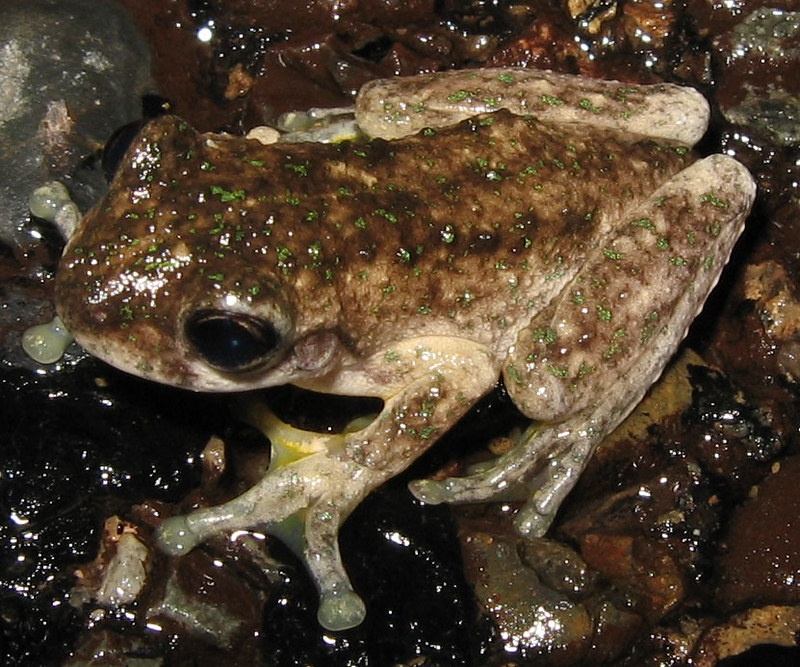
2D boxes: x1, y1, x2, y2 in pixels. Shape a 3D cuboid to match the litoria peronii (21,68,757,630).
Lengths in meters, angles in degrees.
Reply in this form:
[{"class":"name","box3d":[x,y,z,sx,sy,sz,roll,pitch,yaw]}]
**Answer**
[{"class":"litoria peronii","box3d":[0.179,-0.202,4.525,3.078,1.149,2.347,-43,80,-8]}]
